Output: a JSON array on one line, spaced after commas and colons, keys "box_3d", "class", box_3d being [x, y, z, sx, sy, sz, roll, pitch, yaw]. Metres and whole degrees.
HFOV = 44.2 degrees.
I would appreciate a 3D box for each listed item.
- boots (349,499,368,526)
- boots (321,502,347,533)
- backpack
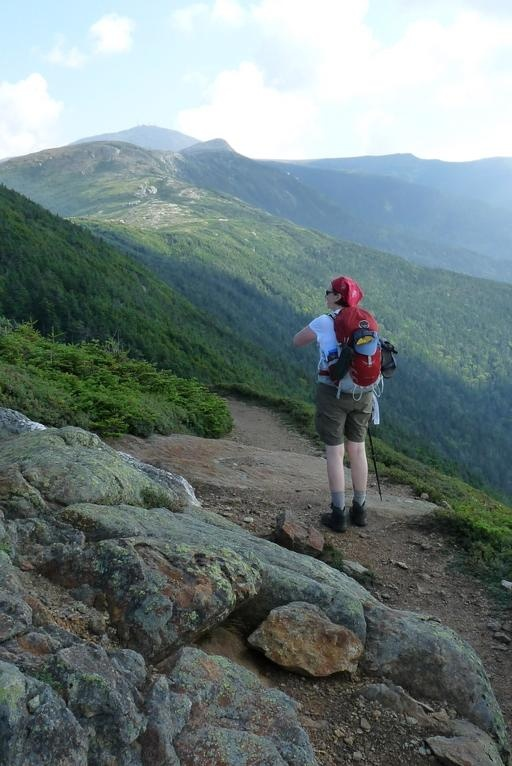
[{"box_3d": [1.122, 1.491, 7.177, 0.142, 0.230, 0.351, -1, 13, -2], "class": "boots"}, {"box_3d": [0.865, 1.489, 6.957, 0.168, 0.271, 0.397, 0, 9, -22], "class": "boots"}, {"box_3d": [0.988, -0.354, 6.366, 0.685, 0.795, 0.494, -8, 15, -39], "class": "backpack"}]
